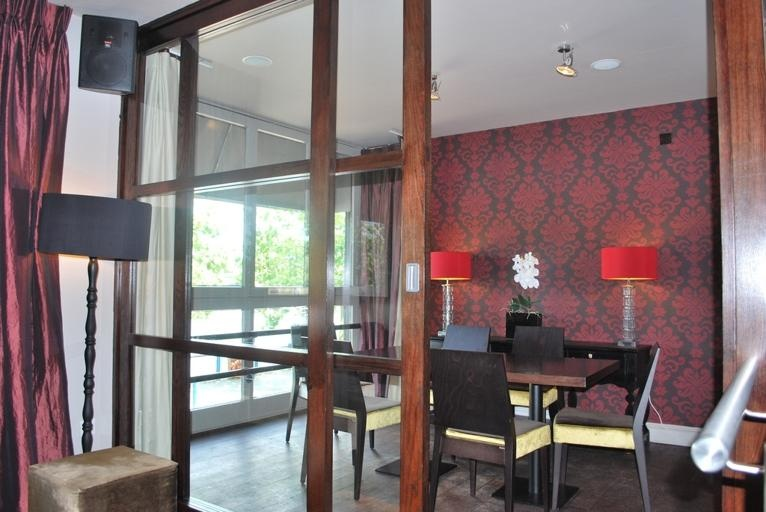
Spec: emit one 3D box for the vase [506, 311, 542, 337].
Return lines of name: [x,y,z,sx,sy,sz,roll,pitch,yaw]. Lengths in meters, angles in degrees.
vase: [1.461,0.691,6.231,0.445,0.316,0.241,1,2,33]

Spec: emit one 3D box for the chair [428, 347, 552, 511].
chair: [0.757,1.268,4.266,0.844,1.223,0.561,0,2,5]

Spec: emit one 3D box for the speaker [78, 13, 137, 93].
speaker: [-1.973,-1.413,4.354,0.385,0.518,0.320,4,6,-2]

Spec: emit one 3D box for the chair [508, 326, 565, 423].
chair: [1.276,1.097,5.363,0.694,0.949,0.715,2,-11,15]

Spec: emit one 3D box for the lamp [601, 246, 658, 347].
lamp: [2.408,0.397,5.810,0.480,0.944,0.572,0,2,25]

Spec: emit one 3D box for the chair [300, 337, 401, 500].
chair: [-0.364,1.057,3.695,0.580,0.842,0.526,3,-15,-7]

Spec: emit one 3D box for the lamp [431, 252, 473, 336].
lamp: [0.769,0.411,6.680,0.441,0.877,0.721,0,1,8]

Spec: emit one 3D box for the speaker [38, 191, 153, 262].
speaker: [-1.814,-0.090,3.751,0.491,0.300,0.496,-2,-8,40]

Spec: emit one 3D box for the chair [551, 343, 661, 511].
chair: [1.725,1.267,4.653,0.758,1.204,0.929,0,2,22]
